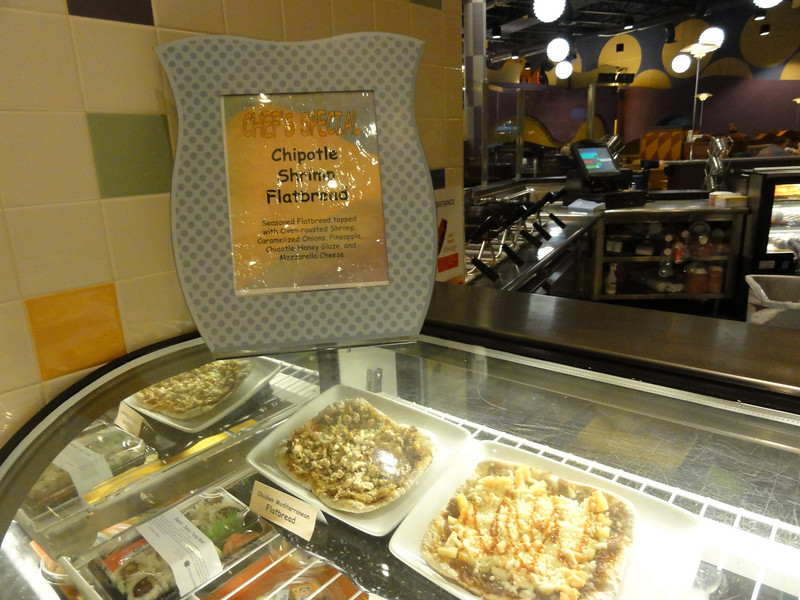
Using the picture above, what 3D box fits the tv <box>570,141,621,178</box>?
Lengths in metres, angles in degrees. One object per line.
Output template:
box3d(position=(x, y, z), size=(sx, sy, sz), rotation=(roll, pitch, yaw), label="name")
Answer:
box3d(position=(1.594, -1.141, 4.490), size=(0.439, 0.327, 0.125), rotation=(-12, -13, -33), label="tv")

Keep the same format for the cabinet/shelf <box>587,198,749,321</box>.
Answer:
box3d(position=(2.008, -0.350, 4.064), size=(0.830, 0.708, 0.481), rotation=(5, 26, 11), label="cabinet/shelf")
